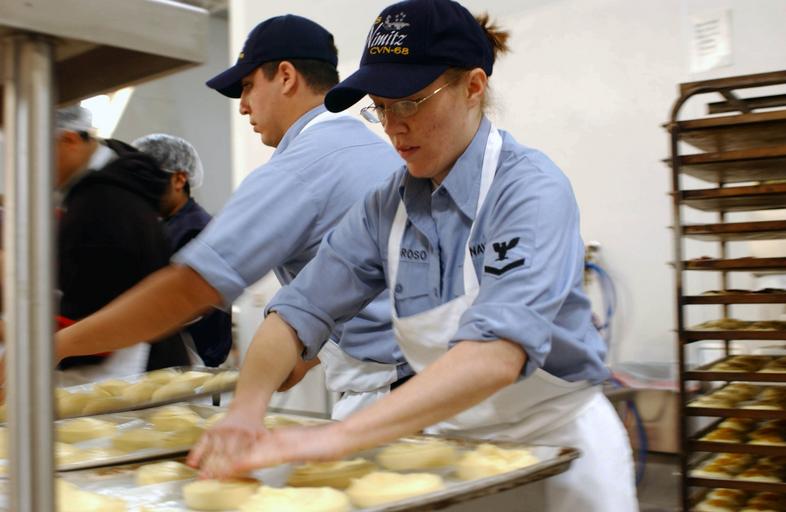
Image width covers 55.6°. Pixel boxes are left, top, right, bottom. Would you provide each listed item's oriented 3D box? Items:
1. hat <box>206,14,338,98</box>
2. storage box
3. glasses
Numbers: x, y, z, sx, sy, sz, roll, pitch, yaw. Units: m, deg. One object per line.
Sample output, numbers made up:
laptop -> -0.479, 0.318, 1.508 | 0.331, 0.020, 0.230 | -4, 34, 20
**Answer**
hat -> -0.382, -0.636, 2.418 | 0.392, 0.201, 0.244 | 0, 5, -3
storage box -> 1.233, 0.769, 3.721 | 0.421, 0.457, 0.423 | -10, -30, 31
glasses -> 0.063, -0.360, 1.860 | 0.150, 0.039, 0.141 | -37, 24, -22
